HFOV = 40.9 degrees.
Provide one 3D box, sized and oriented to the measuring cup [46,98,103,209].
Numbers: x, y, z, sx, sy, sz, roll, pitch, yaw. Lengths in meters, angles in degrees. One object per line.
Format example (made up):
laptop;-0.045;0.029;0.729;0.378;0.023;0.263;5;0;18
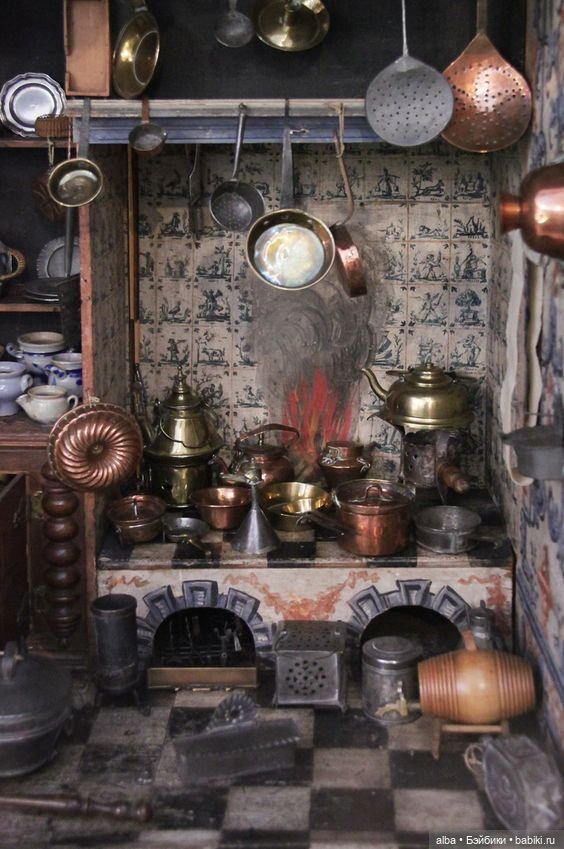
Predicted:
measuring cup;-0.763;-0.989;2.781;0.193;0.374;0.221;-2;10;-14

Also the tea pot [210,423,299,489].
tea pot;-0.089;0.129;3.613;0.321;0.309;0.223;2;20;-1

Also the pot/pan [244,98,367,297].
pot/pan;0.066;-0.890;3.059;0.393;0.702;0.104;-1;15;0

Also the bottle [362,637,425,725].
bottle;0.412;0.960;2.852;0.240;0.251;0.236;0;7;-9
